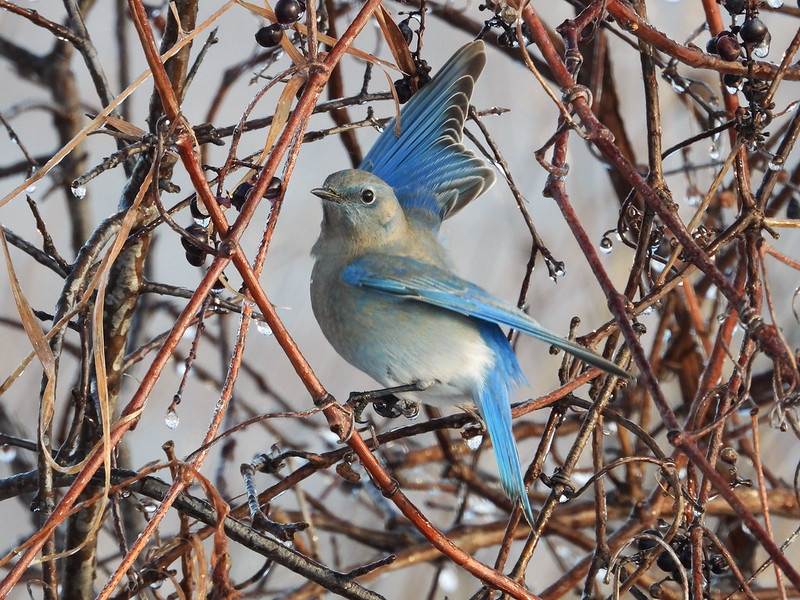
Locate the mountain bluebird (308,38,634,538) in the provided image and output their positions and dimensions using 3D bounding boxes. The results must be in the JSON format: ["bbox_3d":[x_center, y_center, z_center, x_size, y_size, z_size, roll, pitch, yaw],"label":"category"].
[{"bbox_3d":[0.108,-0.042,3.662,0.646,1.348,0.710,3,-51,-12],"label":"mountain bluebird"}]
